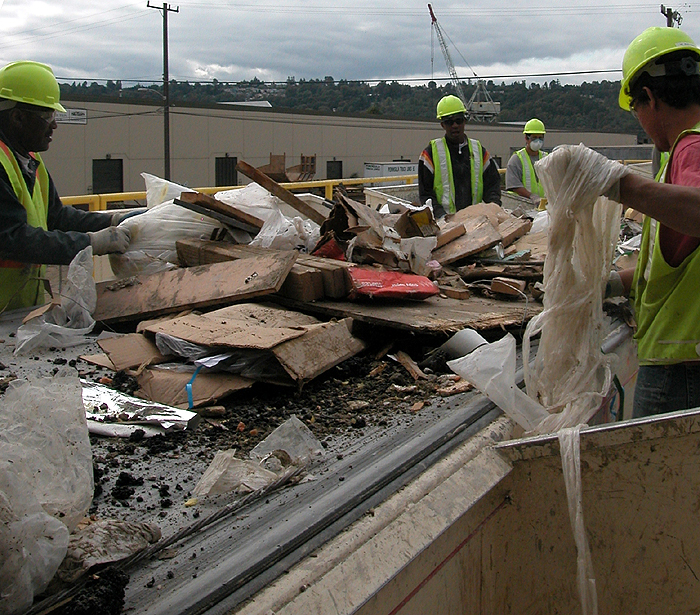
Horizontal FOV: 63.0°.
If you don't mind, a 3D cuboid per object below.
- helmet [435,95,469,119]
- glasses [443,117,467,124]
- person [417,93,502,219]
[{"bbox_3d":[1.109,-2.214,6.348,0.335,0.173,0.368,-11,13,3],"label":"helmet"},{"bbox_3d":[1.138,-2.028,6.276,0.259,0.088,0.212,0,12,6],"label":"glasses"},{"bbox_3d":[1.134,-1.672,6.186,0.716,1.275,1.098,12,19,44],"label":"person"}]
